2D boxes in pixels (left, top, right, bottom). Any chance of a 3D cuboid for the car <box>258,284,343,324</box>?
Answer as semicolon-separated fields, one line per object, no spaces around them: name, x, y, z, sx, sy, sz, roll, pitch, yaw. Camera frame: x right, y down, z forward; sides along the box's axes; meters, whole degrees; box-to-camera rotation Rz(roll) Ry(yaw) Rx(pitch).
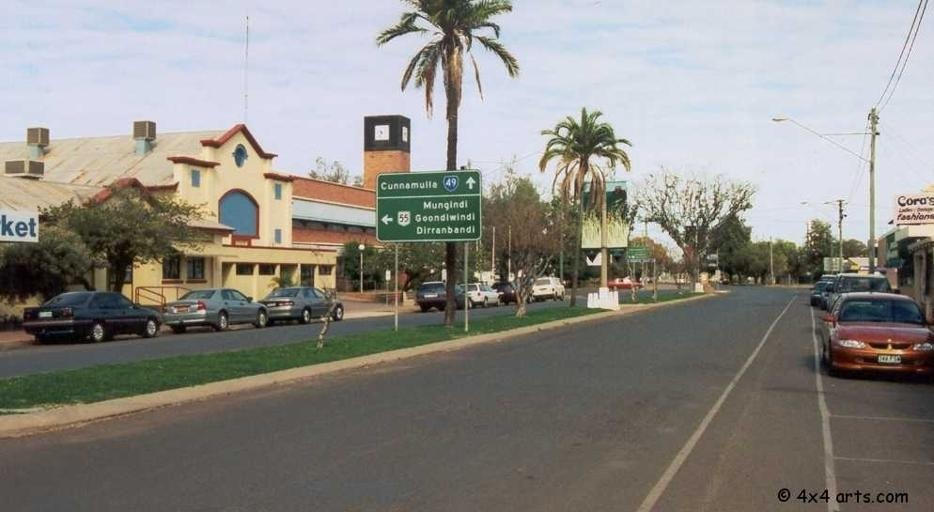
car;-9.080;2.972;47.601;2.634;2.013;6.117;-1;0;30

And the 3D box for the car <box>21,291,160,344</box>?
car;-16.587;2.698;40.041;2.326;1.727;5.288;1;2;36

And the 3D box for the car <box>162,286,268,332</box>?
car;-12.302;2.564;44.558;2.127;1.588;4.819;-1;1;31
